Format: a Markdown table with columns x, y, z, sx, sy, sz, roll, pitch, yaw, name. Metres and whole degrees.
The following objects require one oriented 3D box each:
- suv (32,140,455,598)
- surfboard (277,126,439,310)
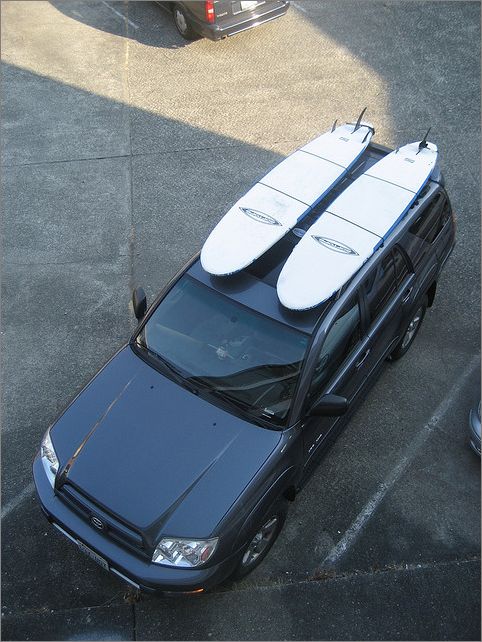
| x | y | z | sx | sy | sz | roll | pitch | yaw | name |
| --- | --- | --- | --- | --- | --- | --- | --- | --- | --- |
| 0.226 | 0.128 | 5.341 | 1.923 | 1.860 | 4.488 | 31 | 60 | 24 | suv |
| 1.311 | -1.094 | 5.454 | 0.704 | 0.326 | 3.054 | 30 | 51 | 23 | surfboard |
